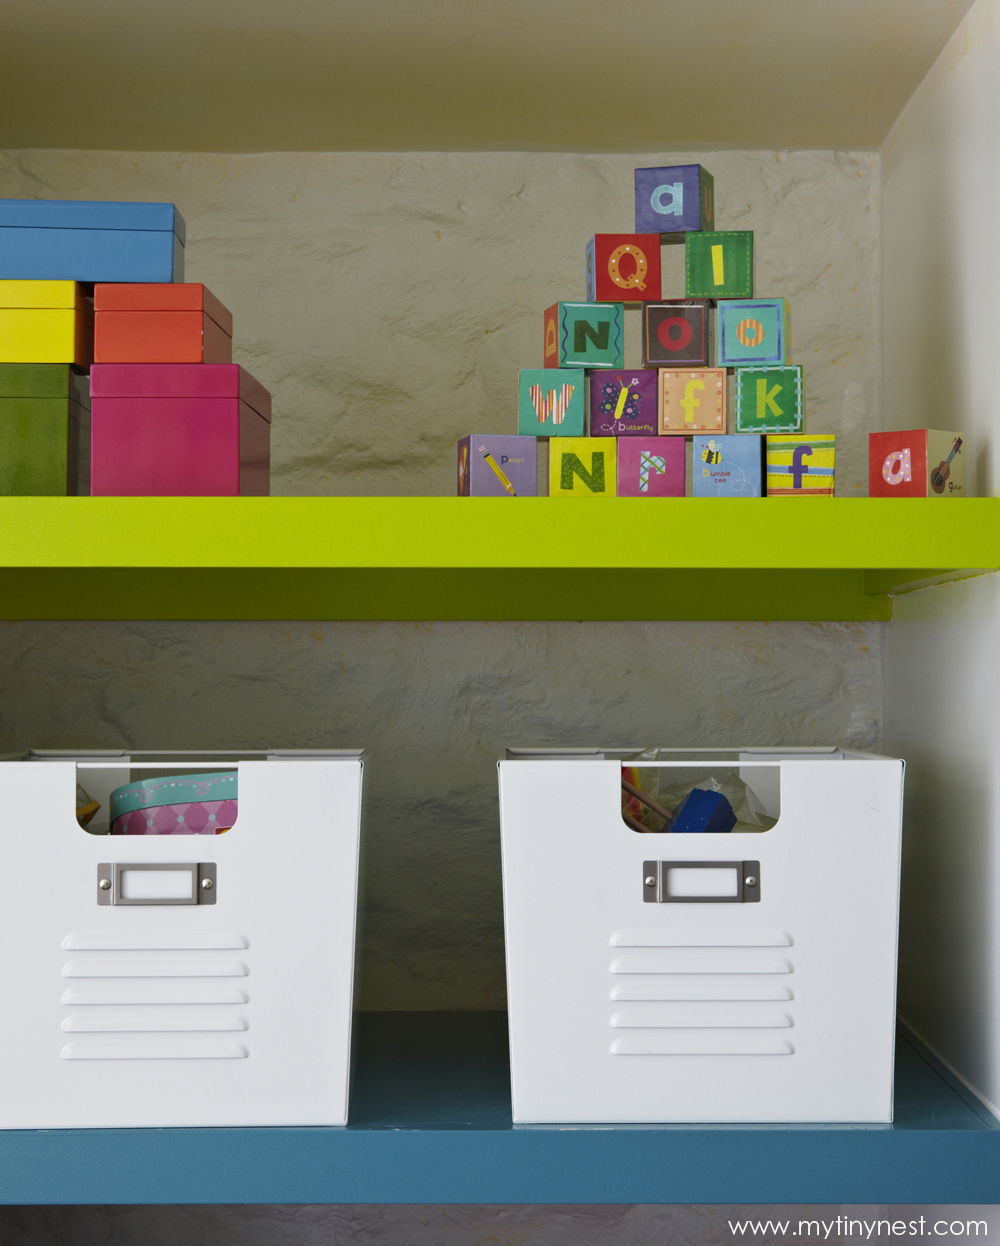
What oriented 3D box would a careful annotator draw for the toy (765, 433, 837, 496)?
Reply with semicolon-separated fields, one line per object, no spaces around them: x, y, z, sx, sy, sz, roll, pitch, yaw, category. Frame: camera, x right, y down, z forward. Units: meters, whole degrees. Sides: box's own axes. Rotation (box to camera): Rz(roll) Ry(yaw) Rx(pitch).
0.272;-0.144;1.502;0.072;0.057;0.042;-3;4;-29;toy

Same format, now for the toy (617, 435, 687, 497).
0.135;-0.141;1.497;0.052;0.047;0.017;0;-7;-1;toy

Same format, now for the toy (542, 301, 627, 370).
0.079;-0.266;1.526;0.063;0.063;0.064;0;13;-5;toy

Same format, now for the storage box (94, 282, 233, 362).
-0.312;-0.269;1.502;0.083;0.053;0.085;1;2;5;storage box

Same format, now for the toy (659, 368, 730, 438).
0.174;-0.198;1.505;0.057;0.056;0.031;0;-8;1;toy

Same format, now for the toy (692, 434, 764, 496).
0.207;-0.145;1.502;0.052;0.053;0.026;0;3;4;toy

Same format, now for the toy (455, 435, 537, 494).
-0.004;-0.135;1.544;0.070;0.072;0.054;1;-1;-1;toy

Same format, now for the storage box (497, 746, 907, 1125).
0.161;0.213;1.482;0.374;0.339;0.288;0;-5;0;storage box

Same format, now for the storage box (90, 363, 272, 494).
-0.296;-0.175;1.530;0.159;0.118;0.189;-2;4;-6;storage box

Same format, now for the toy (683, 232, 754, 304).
0.199;-0.324;1.517;0.060;0.060;0.060;0;1;4;toy

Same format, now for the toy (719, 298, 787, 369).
0.228;-0.261;1.506;0.058;0.060;0.057;2;6;9;toy

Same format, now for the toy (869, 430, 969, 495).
0.371;-0.142;1.488;0.086;0.060;0.116;0;4;14;toy

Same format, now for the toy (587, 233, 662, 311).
0.112;-0.322;1.519;0.061;0.063;0.061;0;-4;-3;toy

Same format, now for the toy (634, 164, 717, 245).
0.158;-0.385;1.523;0.067;0.069;0.067;9;16;12;toy
